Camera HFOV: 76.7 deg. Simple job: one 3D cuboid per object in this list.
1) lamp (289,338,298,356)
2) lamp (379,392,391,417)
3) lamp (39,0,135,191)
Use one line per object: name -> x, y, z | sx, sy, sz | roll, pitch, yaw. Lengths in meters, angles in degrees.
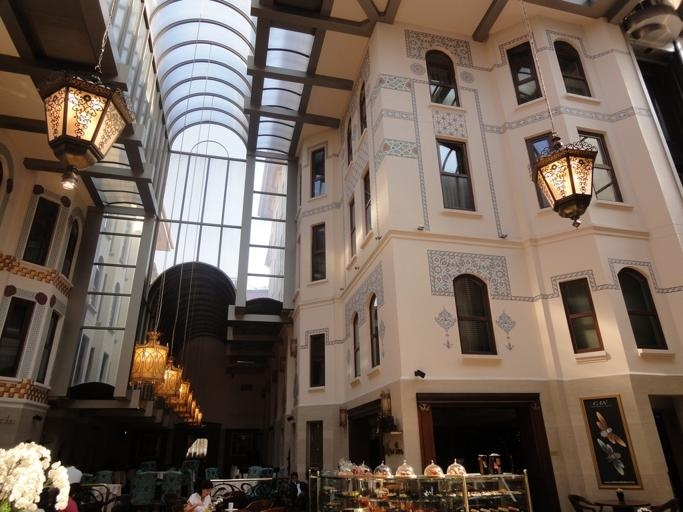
lamp -> -1.826, 3.562, 16.895 | 0.236, 0.824, 0.694 | 1, -25, -5
lamp -> 1.102, 3.717, 10.787 | 0.191, 0.575, 0.494 | 8, -26, -17
lamp -> -3.366, -1.741, 5.703 | 1.033, 1.302, 0.628 | 16, -30, -33
